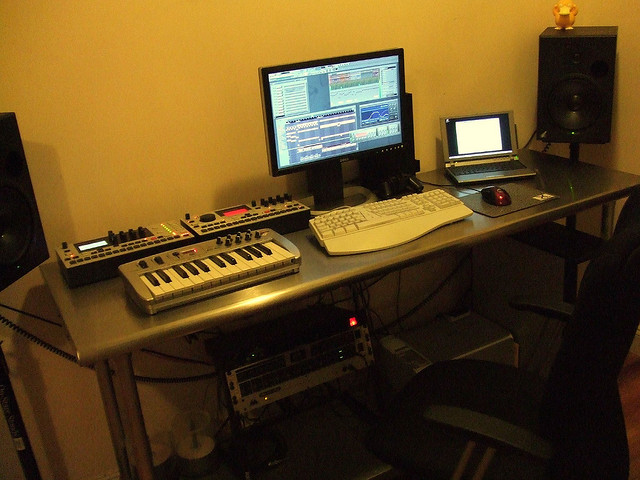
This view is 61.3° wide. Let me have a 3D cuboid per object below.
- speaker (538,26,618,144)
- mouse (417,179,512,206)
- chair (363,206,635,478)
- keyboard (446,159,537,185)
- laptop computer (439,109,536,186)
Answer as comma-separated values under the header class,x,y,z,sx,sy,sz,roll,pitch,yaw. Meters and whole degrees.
class,x,y,z,sx,sy,sz,roll,pitch,yaw
speaker,1.173,-0.679,2.545,0.306,0.575,0.284,9,25,19
mouse,0.684,-0.172,2.113,0.119,0.058,0.075,7,27,30
chair,0.618,0.356,1.904,0.514,0.923,0.572,21,38,30
keyboard,0.751,-0.301,2.389,0.353,0.056,0.154,-9,24,-1
laptop computer,0.732,-0.413,2.380,0.348,0.232,0.288,-7,25,-2
